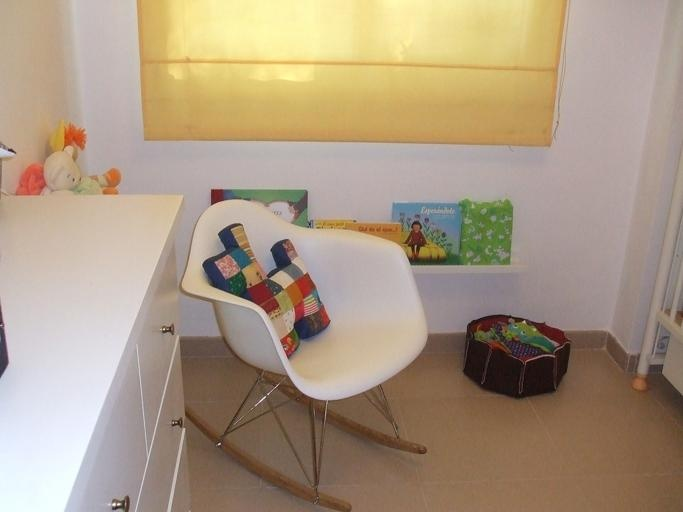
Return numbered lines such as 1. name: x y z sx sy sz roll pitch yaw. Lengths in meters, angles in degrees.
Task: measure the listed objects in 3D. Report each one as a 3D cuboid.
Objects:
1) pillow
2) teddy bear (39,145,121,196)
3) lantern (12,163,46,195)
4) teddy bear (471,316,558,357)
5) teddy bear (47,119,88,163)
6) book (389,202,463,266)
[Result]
1. pillow: -0.308 0.123 2.099 0.356 0.461 0.427 17 31 36
2. teddy bear: -0.977 -0.297 2.007 0.297 0.143 0.239 -14 20 -31
3. lantern: -1.102 -0.264 1.890 0.090 0.124 0.045 21 -20 -40
4. teddy bear: 0.933 0.357 2.772 0.220 0.101 0.276 -13 27 -39
5. teddy bear: -1.088 -0.477 2.099 0.182 0.106 0.165 27 22 36
6. book: 0.425 -0.129 2.740 0.306 0.308 0.042 0 14 1
